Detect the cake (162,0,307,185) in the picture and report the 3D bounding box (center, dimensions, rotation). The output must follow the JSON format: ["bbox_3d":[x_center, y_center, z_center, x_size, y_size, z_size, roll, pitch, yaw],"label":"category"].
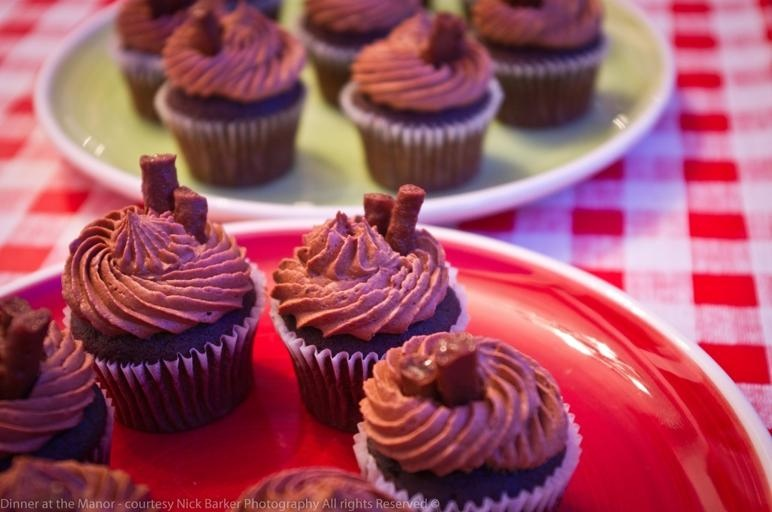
[{"bbox_3d":[-0.672,-0.738,3.505,0.687,0.736,0.473,-19,55,-13],"label":"cake"}]
